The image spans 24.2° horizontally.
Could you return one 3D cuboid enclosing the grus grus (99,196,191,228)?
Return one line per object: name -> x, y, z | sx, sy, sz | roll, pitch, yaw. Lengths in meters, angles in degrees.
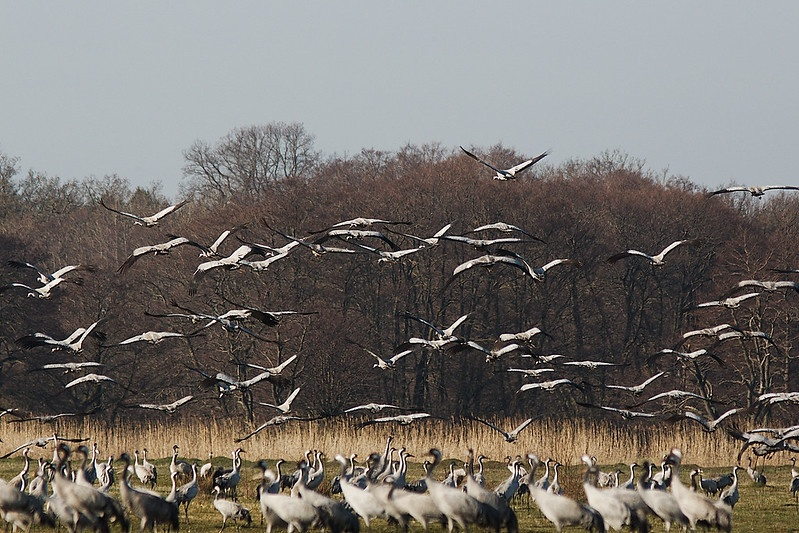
grus grus -> -14.793, -3.050, 107.908 | 4.993, 1.589, 2.366 | -3, -17, -34
